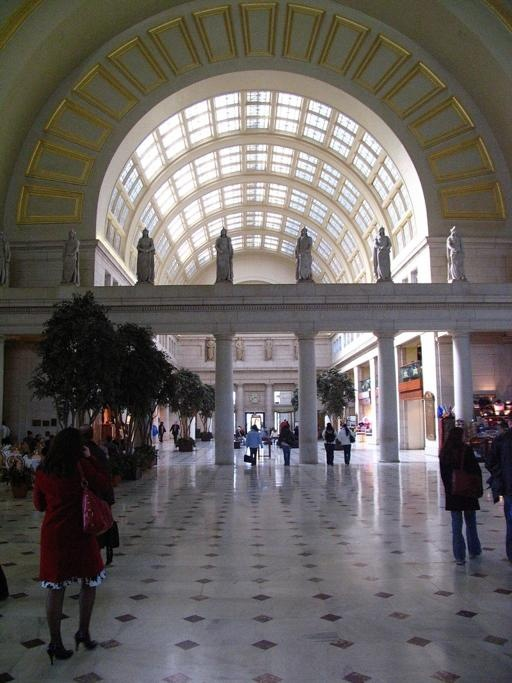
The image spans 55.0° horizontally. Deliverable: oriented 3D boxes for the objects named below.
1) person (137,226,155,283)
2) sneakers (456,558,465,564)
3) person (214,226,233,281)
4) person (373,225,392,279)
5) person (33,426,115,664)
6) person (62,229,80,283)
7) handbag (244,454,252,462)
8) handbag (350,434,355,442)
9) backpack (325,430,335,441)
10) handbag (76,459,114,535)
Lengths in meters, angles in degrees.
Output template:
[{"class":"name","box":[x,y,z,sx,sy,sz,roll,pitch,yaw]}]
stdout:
[{"class":"person","box":[-4.838,-3.623,21.557,0.711,2.807,1.329,2,-10,-17]},{"class":"sneakers","box":[2.286,2.461,5.485,0.105,0.052,0.214,-5,-11,21]},{"class":"person","box":[-1.375,-3.539,21.293,0.652,2.499,0.984,1,-10,-10]},{"class":"person","box":[5.482,-3.628,21.351,0.714,2.623,1.145,-3,-10,15]},{"class":"person","box":[-1.139,1.256,3.048,0.467,1.399,0.523,4,-11,-25]},{"class":"person","box":[-8.077,-3.560,21.510,0.630,2.603,0.909,5,-11,-28]},{"class":"handbag","box":[-0.304,4.367,18.196,0.236,0.263,0.457,-1,-5,6]},{"class":"handbag","box":[3.819,3.894,19.636,0.116,0.289,0.310,-2,-10,9]},{"class":"backpack","box":[2.908,3.761,19.408,0.426,0.516,0.346,1,-3,1]},{"class":"handbag","box":[-0.979,0.989,3.046,0.189,0.450,0.322,-3,-10,13]}]
